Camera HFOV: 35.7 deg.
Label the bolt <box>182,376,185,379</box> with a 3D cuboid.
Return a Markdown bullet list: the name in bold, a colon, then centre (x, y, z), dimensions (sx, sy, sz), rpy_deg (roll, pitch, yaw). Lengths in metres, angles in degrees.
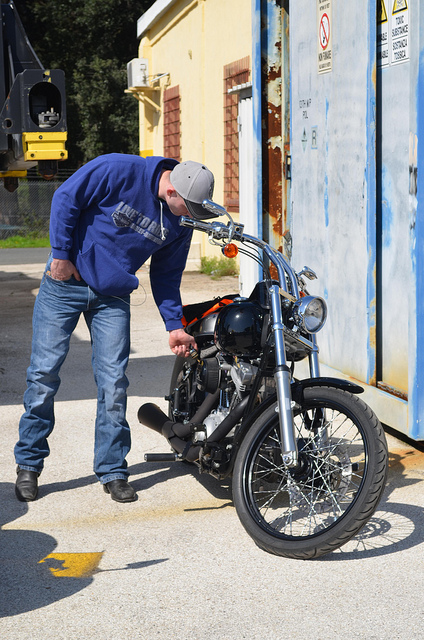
- **bolt**: centre (-0.148, 0.298, 3.442), dimensions (0.015, 0.016, 0.024), rpy_deg (7, -6, -14)

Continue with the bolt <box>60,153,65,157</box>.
- **bolt**: centre (-1.102, -1.243, 4.863), dimensions (0.032, 0.033, 0.009), rpy_deg (1, -10, -11)

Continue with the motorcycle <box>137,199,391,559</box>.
- **motorcycle**: centre (0.100, 0.184, 2.867), dimensions (0.595, 1.213, 1.717), rpy_deg (6, 1, -23)

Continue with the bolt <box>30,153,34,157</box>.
- **bolt**: centre (-1.313, -1.225, 4.816), dimensions (0.028, 0.025, 0.011), rpy_deg (-1, 3, -9)
